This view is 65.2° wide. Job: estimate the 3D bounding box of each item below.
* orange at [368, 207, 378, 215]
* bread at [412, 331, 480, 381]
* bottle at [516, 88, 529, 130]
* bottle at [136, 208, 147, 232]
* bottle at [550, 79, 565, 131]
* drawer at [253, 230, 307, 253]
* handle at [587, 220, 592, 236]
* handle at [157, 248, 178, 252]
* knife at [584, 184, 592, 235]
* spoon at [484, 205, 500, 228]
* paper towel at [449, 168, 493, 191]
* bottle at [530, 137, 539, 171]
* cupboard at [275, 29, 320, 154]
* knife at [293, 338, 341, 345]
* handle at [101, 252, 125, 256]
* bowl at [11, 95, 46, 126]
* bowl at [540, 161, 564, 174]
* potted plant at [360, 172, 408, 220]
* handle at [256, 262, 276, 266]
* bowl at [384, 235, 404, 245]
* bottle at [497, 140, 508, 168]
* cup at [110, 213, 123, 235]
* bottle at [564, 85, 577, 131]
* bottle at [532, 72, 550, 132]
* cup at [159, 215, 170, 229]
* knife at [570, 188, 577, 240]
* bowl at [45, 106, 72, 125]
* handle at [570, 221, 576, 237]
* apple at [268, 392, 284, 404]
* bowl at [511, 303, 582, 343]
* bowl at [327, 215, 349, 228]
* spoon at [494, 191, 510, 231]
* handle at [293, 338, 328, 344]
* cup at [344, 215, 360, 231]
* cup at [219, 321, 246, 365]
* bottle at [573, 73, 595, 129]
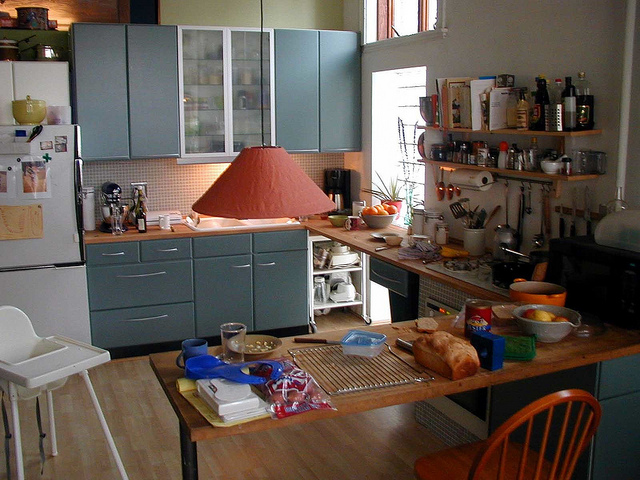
[{"bbox_3d":[0.511,-0.272,4.723,0.069,0.072,0.067,18,30,32],"label":"orange"},{"bbox_3d":[0.541,0.475,2.125,0.214,0.138,0.271,-2,7,-24],"label":"bread"},{"bbox_3d":[1.324,-0.854,3.257,0.073,0.265,0.182,1,15,14],"label":"bottle"},{"bbox_3d":[-1.630,-0.182,4.571,0.078,0.200,0.136,-8,16,-19],"label":"bottle"},{"bbox_3d":[1.490,-0.840,3.119,0.082,0.307,0.302,4,16,23],"label":"bottle"},{"bbox_3d":[-0.375,0.013,4.839,0.403,0.139,0.256,-3,13,-19],"label":"drawer"},{"bbox_3d":[1.691,-0.083,3.130,0.030,0.082,0.051,5,17,27],"label":"handle"},{"bbox_3d":[-1.378,0.094,4.509,0.120,0.018,0.017,-4,-32,-15],"label":"handle"},{"bbox_3d":[1.677,-0.191,3.139,0.050,0.312,0.030,-3,0,12],"label":"knife"},{"bbox_3d":[1.305,-0.186,3.875,0.035,0.279,0.039,37,49,14],"label":"spoon"},{"bbox_3d":[1.137,-0.481,3.803,0.135,0.121,0.316,-15,18,-40],"label":"paper towel"},{"bbox_3d":[1.438,-0.578,3.343,0.061,0.201,0.197,3,15,22],"label":"bottle"},{"bbox_3d":[-0.213,-1.491,5.064,0.506,1.206,0.241,-5,15,-7],"label":"cupboard"},{"bbox_3d":[-0.011,0.479,2.371,0.233,0.021,0.023,1,-29,1],"label":"knife"},{"bbox_3d":[-1.802,0.125,4.382,0.178,0.036,0.013,-6,15,-16],"label":"handle"},{"bbox_3d":[-2.469,-1.076,4.257,0.288,0.205,0.277,0,10,0],"label":"bowl"},{"bbox_3d":[1.455,-0.453,3.133,0.099,0.053,0.091,-1,9,0],"label":"bowl"},{"bbox_3d":[0.691,-0.414,5.041,0.497,0.333,0.497,5,14,21],"label":"potted plant"},{"bbox_3d":[-0.516,0.240,4.821,0.184,0.034,0.013,-7,15,-21],"label":"handle"},{"bbox_3d":[0.624,-0.002,4.190,0.135,0.087,0.123,-2,14,1],"label":"bowl"},{"bbox_3d":[1.281,-0.594,3.499,0.062,0.168,0.102,3,16,19],"label":"bottle"},{"bbox_3d":[-1.819,-0.150,4.496,0.113,0.183,0.111,-3,15,1],"label":"cup"},{"bbox_3d":[1.508,-0.788,2.997,0.073,0.262,0.068,-3,15,1],"label":"bottle"},{"bbox_3d":[1.397,-0.858,3.142,0.100,0.348,0.219,3,16,21],"label":"bottle"},{"bbox_3d":[-1.452,-0.169,4.688,0.097,0.126,0.076,-8,16,-19],"label":"cup"},{"bbox_3d":[1.625,-0.174,3.204,0.044,0.329,0.032,2,6,24],"label":"knife"},{"bbox_3d":[-2.206,-1.057,4.313,0.213,0.135,0.182,2,9,6],"label":"bowl"},{"bbox_3d":[1.646,-0.078,3.246,0.036,0.089,0.062,4,16,24],"label":"handle"},{"bbox_3d":[-0.160,0.587,1.857,0.056,0.028,0.029,-3,14,-5],"label":"apple"},{"bbox_3d":[1.072,0.390,2.382,0.305,0.128,0.300,0,8,0],"label":"bowl"},{"bbox_3d":[0.195,-0.192,4.967,0.200,0.097,0.210,-2,14,0],"label":"bowl"},{"bbox_3d":[1.334,-0.208,3.622,0.089,0.240,0.302,3,15,20],"label":"spoon"},{"bbox_3d":[-0.039,0.478,2.376,0.138,0.018,0.022,1,11,7],"label":"handle"},{"bbox_3d":[0.316,-0.158,4.835,0.172,0.139,0.113,-6,12,-39],"label":"cup"},{"bbox_3d":[-0.351,0.453,2.166,0.136,0.161,0.122,0,-6,12],"label":"cup"},{"bbox_3d":[1.616,-0.841,3.043,0.125,0.327,0.180,4,16,24],"label":"bottle"}]
